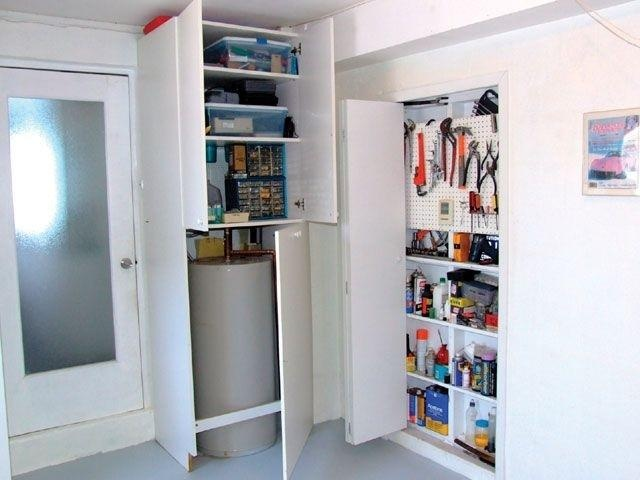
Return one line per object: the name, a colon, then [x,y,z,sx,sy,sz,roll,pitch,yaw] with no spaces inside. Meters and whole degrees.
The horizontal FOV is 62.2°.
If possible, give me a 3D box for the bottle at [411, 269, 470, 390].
bottle: [0.868,0.599,3.822,0.276,0.888,0.299,1,6,0]
